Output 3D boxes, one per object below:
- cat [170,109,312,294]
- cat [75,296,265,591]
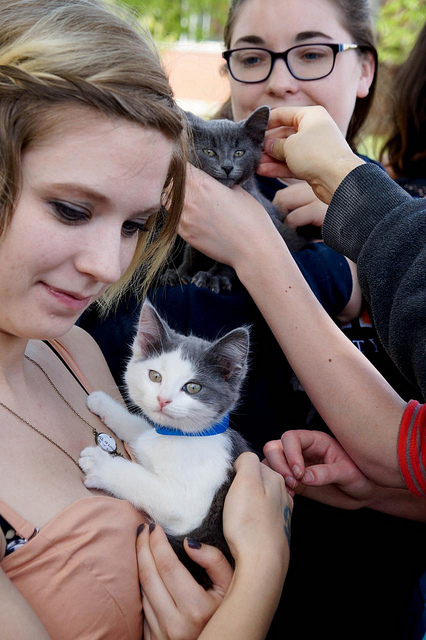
[{"bbox_3d":[0.043,-0.517,2.927,0.389,1.120,0.772,7,99,8],"label":"cat"},{"bbox_3d":[-0.001,0.419,1.920,0.535,0.770,0.587,25,78,32],"label":"cat"}]
